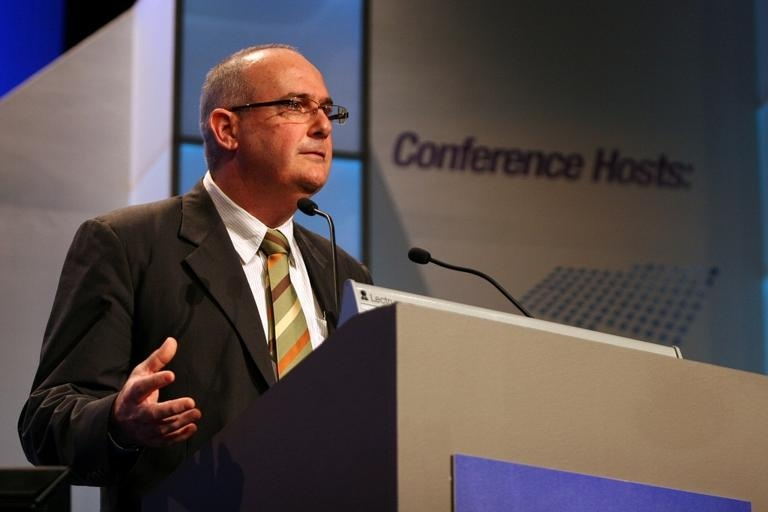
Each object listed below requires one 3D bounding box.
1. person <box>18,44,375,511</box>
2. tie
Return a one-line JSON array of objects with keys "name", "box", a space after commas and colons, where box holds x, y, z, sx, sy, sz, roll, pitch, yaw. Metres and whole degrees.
[{"name": "person", "box": [-0.486, 0.020, 2.034, 0.656, 1.114, 0.951, 0, 11, 21]}, {"name": "tie", "box": [-0.253, 0.130, 2.062, 0.122, 0.494, 0.043, -10, 43, -6]}]
